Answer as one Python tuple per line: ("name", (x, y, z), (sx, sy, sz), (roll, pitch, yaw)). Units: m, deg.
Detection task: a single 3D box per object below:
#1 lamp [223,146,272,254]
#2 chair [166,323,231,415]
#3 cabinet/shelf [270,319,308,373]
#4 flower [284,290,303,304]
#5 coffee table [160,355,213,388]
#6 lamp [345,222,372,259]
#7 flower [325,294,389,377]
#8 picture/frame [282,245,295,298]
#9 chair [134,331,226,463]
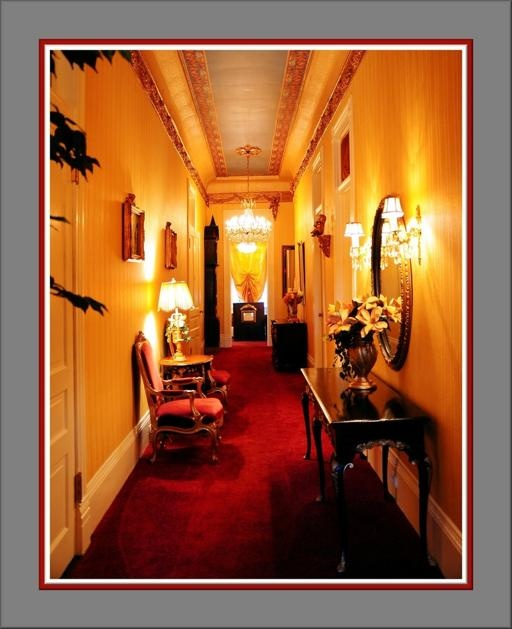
("lamp", (-0.168, -2.334, 10.021), (0.935, 2.177, 1.116), (-1, 2, -2))
("chair", (-0.704, 0.698, 6.043), (0.757, 1.616, 1.015), (0, 1, -1))
("cabinet/shelf", (0.715, 0.629, 9.796), (0.574, 1.103, 1.268), (0, -5, 4))
("flower", (0.753, -0.330, 9.707), (0.238, 0.269, 0.263), (-4, 6, -10))
("coffee table", (-0.806, 0.593, 5.513), (0.338, 0.299, 0.428), (1, 1, 6))
("lamp", (0.938, -0.663, 4.438), (0.204, 0.355, 0.754), (0, 2, 11))
("flower", (0.687, 0.175, 3.133), (0.398, 0.559, 0.458), (0, 2, 29))
("picture/frame", (0.888, -1.142, 12.419), (0.295, 1.308, 0.713), (-1, 1, -25))
("chair", (-0.722, 0.777, 5.084), (0.868, 1.719, 0.920), (-1, 0, 1))
